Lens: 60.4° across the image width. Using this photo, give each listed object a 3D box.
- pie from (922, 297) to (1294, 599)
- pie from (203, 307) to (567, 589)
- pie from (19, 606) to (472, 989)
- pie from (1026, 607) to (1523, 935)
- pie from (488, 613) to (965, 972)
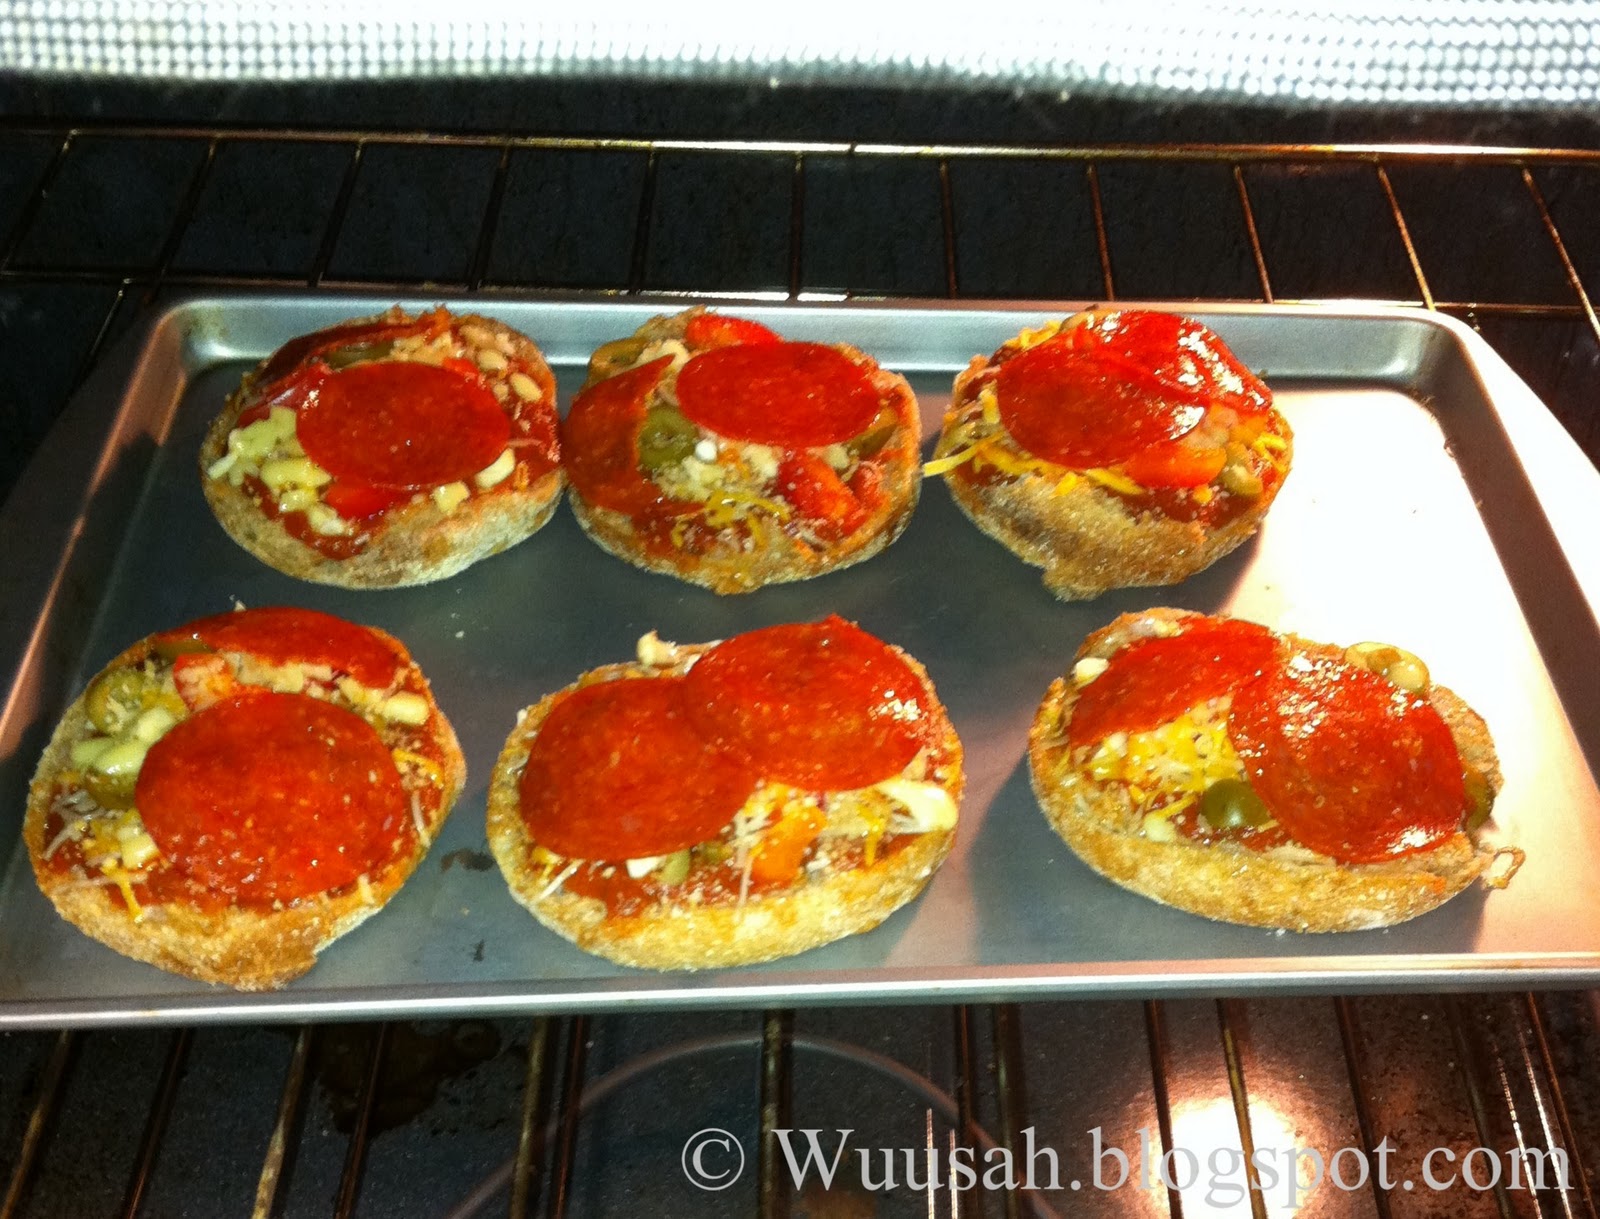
[{"bbox_3d":[0.587,-0.373,2.600,0.678,0.210,0.670,18,56,10],"label":"pie"},{"bbox_3d":[-0.764,-0.284,2.592,0.669,0.189,0.622,25,45,20],"label":"pie"},{"bbox_3d":[-0.898,0.282,2.248,0.654,0.284,0.592,-33,64,-24],"label":"pie"},{"bbox_3d":[0.773,0.272,2.263,0.717,0.297,0.507,-7,57,-10],"label":"pie"},{"bbox_3d":[-0.117,0.294,2.246,0.782,0.301,0.534,-3,56,-6],"label":"pie"}]
